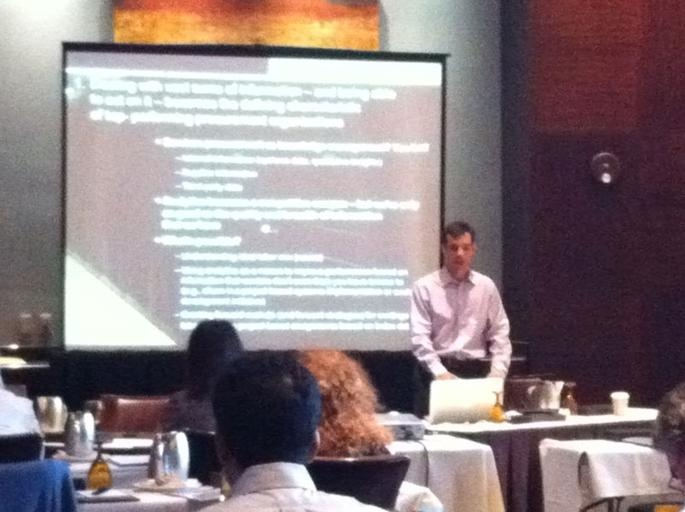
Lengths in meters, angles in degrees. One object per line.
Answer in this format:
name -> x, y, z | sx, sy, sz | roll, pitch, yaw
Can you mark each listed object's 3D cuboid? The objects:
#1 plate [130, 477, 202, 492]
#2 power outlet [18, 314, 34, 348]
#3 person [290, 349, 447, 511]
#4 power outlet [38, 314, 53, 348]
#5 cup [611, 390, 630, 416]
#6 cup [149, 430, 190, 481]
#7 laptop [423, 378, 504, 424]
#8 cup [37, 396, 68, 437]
plate -> -0.811, 1.052, 5.190 | 0.306, 0.055, 0.163 | -2, 11, 6
power outlet -> -2.164, 0.495, 7.722 | 0.114, 0.216, 0.086 | -6, 11, -16
person -> 0.021, 0.689, 5.396 | 0.519, 0.922, 0.872 | 0, 7, -11
power outlet -> -2.030, 0.495, 7.738 | 0.102, 0.214, 0.094 | -6, 11, -14
cup -> 1.647, 0.852, 6.558 | 0.131, 0.162, 0.141 | 0, -5, 0
cup -> -0.801, 0.929, 5.219 | 0.189, 0.223, 0.115 | -8, 12, -22
laptop -> 0.678, 0.799, 6.237 | 0.331, 0.236, 0.243 | 1, -2, -7
cup -> -1.510, 0.814, 5.842 | 0.158, 0.175, 0.197 | -5, 11, -10
